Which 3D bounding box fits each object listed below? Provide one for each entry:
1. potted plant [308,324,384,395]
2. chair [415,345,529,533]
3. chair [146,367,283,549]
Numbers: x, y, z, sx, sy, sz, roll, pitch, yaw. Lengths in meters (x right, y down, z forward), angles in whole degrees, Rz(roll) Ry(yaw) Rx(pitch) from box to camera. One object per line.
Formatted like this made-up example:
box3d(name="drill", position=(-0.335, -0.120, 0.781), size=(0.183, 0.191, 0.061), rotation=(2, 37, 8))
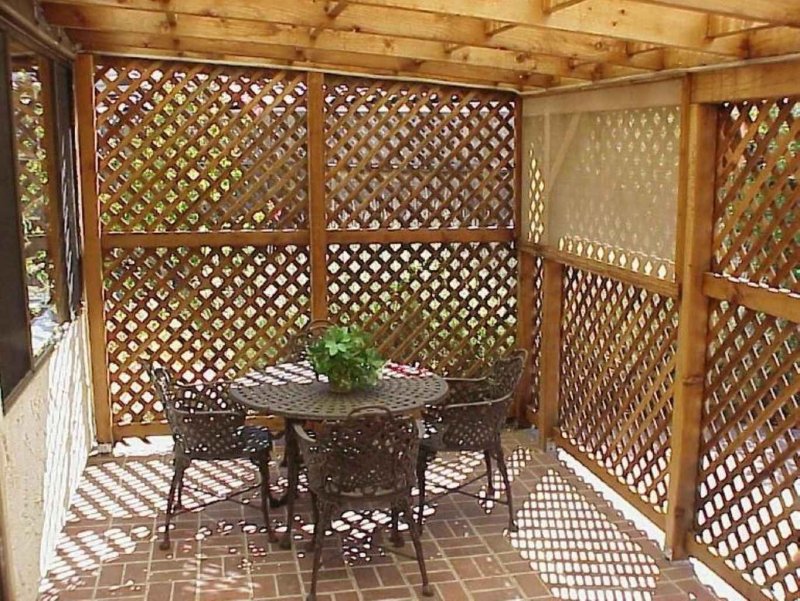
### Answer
box3d(name="potted plant", position=(-0.311, 0.399, 4.185), size=(0.396, 0.296, 0.400), rotation=(-4, -12, 23))
box3d(name="chair", position=(0.356, 0.905, 4.503), size=(0.897, 1.034, 0.778), rotation=(0, 3, 32))
box3d(name="chair", position=(-1.125, 0.818, 4.650), size=(1.038, 1.285, 0.912), rotation=(-2, 15, -11))
